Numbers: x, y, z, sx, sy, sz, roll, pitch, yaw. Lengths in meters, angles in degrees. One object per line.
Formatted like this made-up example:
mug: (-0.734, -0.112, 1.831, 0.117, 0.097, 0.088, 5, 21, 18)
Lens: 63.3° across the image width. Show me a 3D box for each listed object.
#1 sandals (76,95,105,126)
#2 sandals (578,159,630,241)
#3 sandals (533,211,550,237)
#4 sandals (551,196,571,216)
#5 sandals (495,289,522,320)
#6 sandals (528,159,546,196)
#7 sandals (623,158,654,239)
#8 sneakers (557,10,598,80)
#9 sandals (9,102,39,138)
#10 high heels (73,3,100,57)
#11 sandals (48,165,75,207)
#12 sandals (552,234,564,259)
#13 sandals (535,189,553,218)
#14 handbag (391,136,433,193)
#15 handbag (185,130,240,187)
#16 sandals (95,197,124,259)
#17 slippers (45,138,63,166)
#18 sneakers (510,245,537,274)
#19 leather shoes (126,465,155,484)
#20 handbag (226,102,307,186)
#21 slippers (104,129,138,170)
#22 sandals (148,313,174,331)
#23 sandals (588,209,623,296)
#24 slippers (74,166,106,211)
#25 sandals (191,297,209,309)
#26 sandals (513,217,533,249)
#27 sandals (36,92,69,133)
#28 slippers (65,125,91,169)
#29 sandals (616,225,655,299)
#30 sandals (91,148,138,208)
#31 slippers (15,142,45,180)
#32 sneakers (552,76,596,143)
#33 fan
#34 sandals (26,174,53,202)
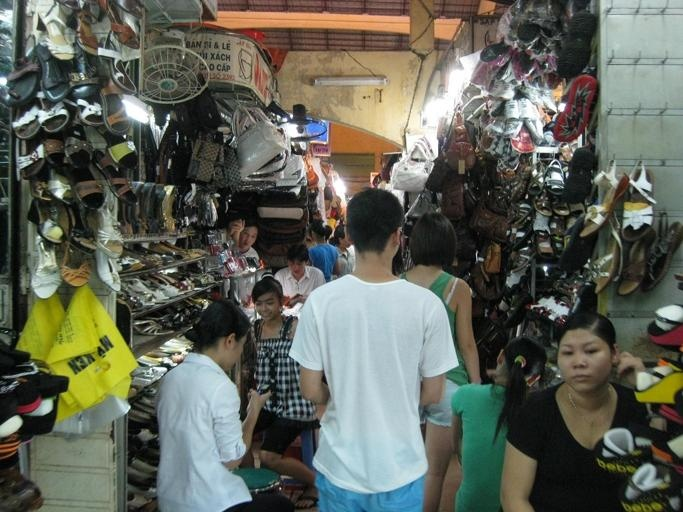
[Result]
sandals: (-1.095, -0.638, 2.408, 0.113, 0.133, 0.051, 0, 6, -31)
sandals: (1.286, -0.274, 2.818, 0.170, 0.444, 0.145, 13, 26, -5)
sandals: (1.310, -0.214, 3.632, 0.097, 0.149, 0.069, 4, 6, 11)
sandals: (1.405, -0.318, 3.551, 0.120, 0.116, 0.061, 6, 6, 26)
sandals: (1.299, 0.385, 4.332, 0.068, 0.140, 0.261, -10, -11, -16)
sandals: (1.340, -0.546, 3.811, 0.097, 0.259, 0.382, 5, 6, 19)
sandals: (1.477, -0.284, 2.758, 0.141, 0.381, 0.098, 4, -2, 43)
sneakers: (1.251, -1.124, 2.980, 0.190, 0.339, 0.078, 2, 9, 2)
sandals: (-1.321, -0.558, 2.330, 0.086, 0.179, 0.047, 6, -16, 8)
high heels: (-1.132, -1.002, 2.450, 0.080, 0.215, 0.081, 3, 8, 43)
sandals: (-1.222, -0.304, 2.411, 0.043, 0.162, 0.093, -11, 7, 45)
sandals: (1.404, -0.062, 3.569, 0.051, 0.146, 0.039, 3, 11, 18)
sandals: (1.316, -0.347, 3.633, 0.071, 0.062, 0.189, -8, 41, 24)
handbag: (0.738, -0.936, 5.462, 0.353, 0.603, 0.232, 12, -7, 29)
handbag: (-0.976, -0.698, 4.209, 0.310, 0.418, 0.172, 13, -9, -15)
sandals: (-1.066, -0.129, 2.572, 0.071, 0.277, 0.097, -12, -6, 30)
slippers: (-1.235, -0.447, 2.385, 0.063, 0.118, 0.036, -12, 11, -37)
sneakers: (1.296, 0.016, 3.964, 0.059, 0.164, 0.115, 11, 27, -44)
leather shoes: (-1.223, 1.342, 3.376, 0.145, 0.061, 0.105, 23, 31, -23)
handbag: (-0.654, -0.846, 4.496, 0.391, 0.663, 0.269, -4, 22, -21)
slippers: (-1.043, -0.516, 2.580, 0.089, 0.218, 0.071, -27, -15, -42)
sandals: (-1.185, 0.436, 3.617, 0.105, 0.056, 0.136, 5, 1, -5)
sandals: (1.343, 0.000, 2.822, 0.093, 0.362, 0.161, 2, 5, -1)
slippers: (-1.113, -0.306, 2.445, 0.129, 0.184, 0.105, 0, 6, -27)
sandals: (-1.059, 0.355, 4.176, 0.112, 0.051, 0.150, 7, 5, 3)
sandals: (1.257, -0.160, 3.849, 0.059, 0.167, 0.144, 31, -18, -1)
sandals: (-1.218, -0.593, 2.351, 0.090, 0.197, 0.046, -21, -6, -2)
slippers: (-1.161, -0.488, 2.435, 0.105, 0.195, 0.138, -1, 7, -35)
sandals: (1.478, 0.045, 2.816, 0.093, 0.394, 0.128, 14, 2, -25)
sandals: (-1.061, -0.344, 2.588, 0.082, 0.308, 0.118, -32, 5, 27)
slippers: (-1.314, -0.401, 2.345, 0.092, 0.153, 0.049, 30, -3, -15)
sneakers: (1.275, -0.807, 3.008, 0.227, 0.352, 0.208, 8, 7, 38)
fan: (-1.112, -1.155, 3.609, 0.411, 0.422, 0.391, -12, -30, -17)
sandals: (-1.305, -0.292, 2.397, 0.102, 0.112, 0.069, 27, 18, 4)
